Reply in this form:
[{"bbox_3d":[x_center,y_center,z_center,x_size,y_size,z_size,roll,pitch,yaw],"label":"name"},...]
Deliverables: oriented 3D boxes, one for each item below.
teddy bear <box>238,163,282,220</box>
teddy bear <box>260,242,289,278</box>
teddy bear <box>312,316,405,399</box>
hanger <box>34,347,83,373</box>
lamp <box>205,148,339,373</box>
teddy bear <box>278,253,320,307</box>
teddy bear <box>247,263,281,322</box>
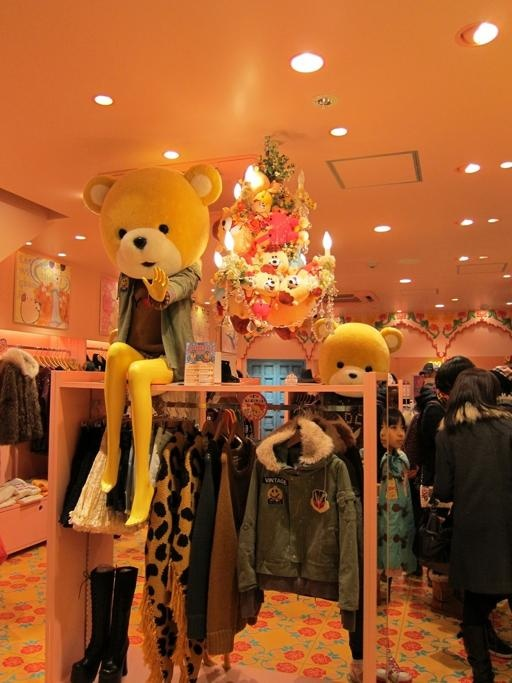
[{"bbox_3d":[-0.023,-0.604,2.176,0.097,0.182,0.223,20,29,-32],"label":"teddy bear"},{"bbox_3d":[0.064,-0.302,1.977,0.111,0.115,0.115,-2,3,-3],"label":"teddy bear"},{"bbox_3d":[0.484,0.098,2.654,0.452,0.402,0.287,8,-9,5],"label":"teddy bear"},{"bbox_3d":[-2.025,0.182,5.563,0.473,0.219,0.946,0,-4,-18],"label":"hanger"},{"bbox_3d":[0.037,-0.337,2.091,0.457,0.716,0.382,-3,21,-11],"label":"lamp"},{"bbox_3d":[0.161,-0.222,2.000,0.158,0.201,0.102,-7,-45,8],"label":"teddy bear"},{"bbox_3d":[0.032,-0.162,1.948,0.115,0.217,0.109,2,3,-6],"label":"teddy bear"}]
